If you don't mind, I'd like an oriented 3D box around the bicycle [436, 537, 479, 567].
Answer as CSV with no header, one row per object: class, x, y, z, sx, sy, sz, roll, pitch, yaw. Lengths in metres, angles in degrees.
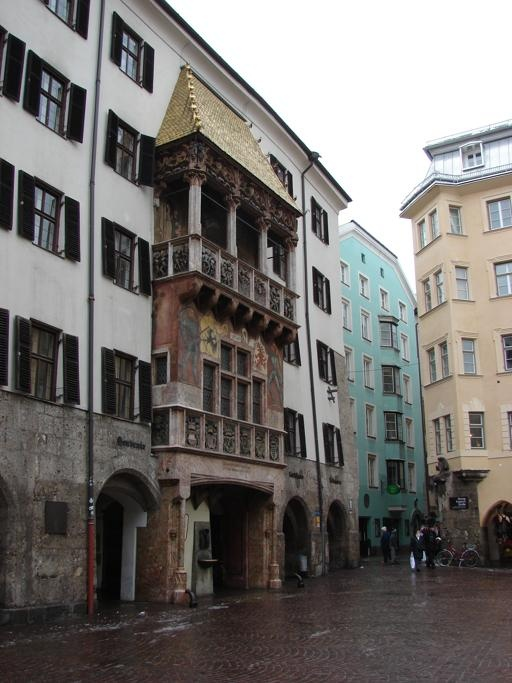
bicycle,10.691,11.131,30.578,2.018,1.609,1.132,-9,-24,30
